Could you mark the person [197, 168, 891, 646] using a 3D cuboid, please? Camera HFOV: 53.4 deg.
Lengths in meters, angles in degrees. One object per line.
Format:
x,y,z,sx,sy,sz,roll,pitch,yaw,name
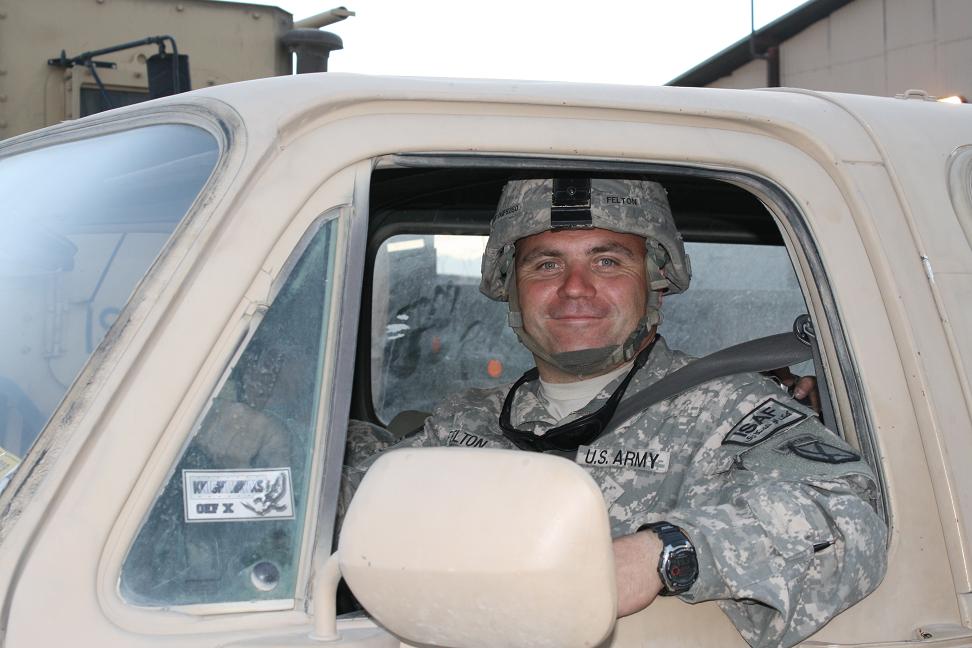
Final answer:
0.183,0.163,2.112,0.542,0.729,0.951,7,-10,-44,person
